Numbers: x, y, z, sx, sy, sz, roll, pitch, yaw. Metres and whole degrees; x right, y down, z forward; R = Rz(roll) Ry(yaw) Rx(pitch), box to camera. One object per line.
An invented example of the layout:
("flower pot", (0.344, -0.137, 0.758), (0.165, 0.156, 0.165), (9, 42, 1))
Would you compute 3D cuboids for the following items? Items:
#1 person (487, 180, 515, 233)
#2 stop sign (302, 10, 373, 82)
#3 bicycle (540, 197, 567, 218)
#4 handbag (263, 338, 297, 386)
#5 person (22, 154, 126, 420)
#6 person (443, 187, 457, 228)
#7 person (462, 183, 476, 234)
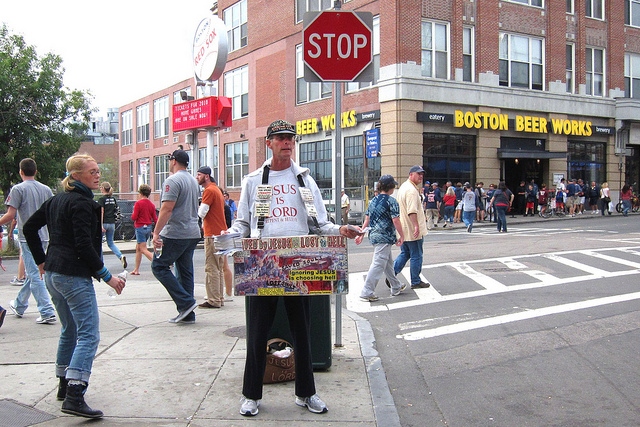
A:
("person", (7.778, -0.297, 23.152), (1.108, 2.154, 0.801), (-2, -5, 22))
("stop sign", (0.235, -2.291, 7.360), (0.984, 0.998, 0.103), (0, 4, 0))
("bicycle", (12.927, -0.296, 29.971), (1.676, 1.056, 0.866), (3, -7, -33))
("handbag", (-0.503, 1.793, 6.477), (0.526, 0.526, 0.315), (7, -14, -37))
("person", (-2.715, 0.761, 5.994), (1.009, 3.015, 0.683), (-2, 1, 38))
("person", (6.153, -0.299, 25.792), (0.578, 1.342, 1.407), (-2, 1, 14))
("person", (6.540, -0.275, 23.661), (0.484, 1.468, 2.407), (-2, 1, 16))
